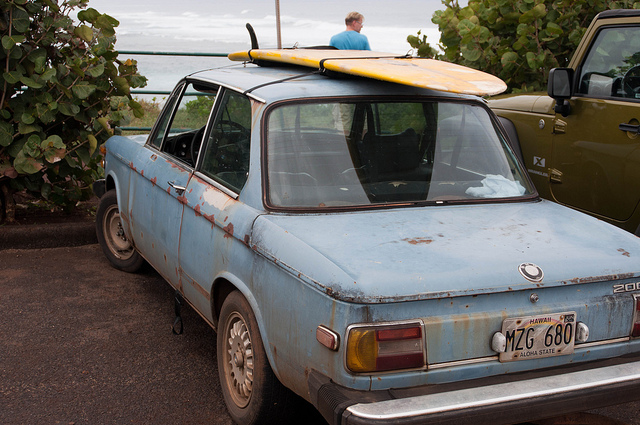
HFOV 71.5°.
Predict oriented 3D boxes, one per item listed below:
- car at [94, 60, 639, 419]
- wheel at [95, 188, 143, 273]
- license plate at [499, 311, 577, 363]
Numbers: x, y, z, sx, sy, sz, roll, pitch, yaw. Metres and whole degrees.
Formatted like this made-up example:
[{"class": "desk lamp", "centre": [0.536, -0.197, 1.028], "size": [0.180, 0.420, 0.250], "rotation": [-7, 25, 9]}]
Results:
[{"class": "car", "centre": [-0.030, -0.053, 3.462], "size": [2.137, 1.450, 3.820], "rotation": [-5, 21, -30]}, {"class": "wheel", "centre": [-2.365, 0.242, 5.346], "size": [0.778, 0.905, 0.247], "rotation": [-4, 9, 24]}, {"class": "license plate", "centre": [1.172, 0.672, 2.396], "size": [0.449, 0.258, 0.016], "rotation": [-3, 11, -11]}]
